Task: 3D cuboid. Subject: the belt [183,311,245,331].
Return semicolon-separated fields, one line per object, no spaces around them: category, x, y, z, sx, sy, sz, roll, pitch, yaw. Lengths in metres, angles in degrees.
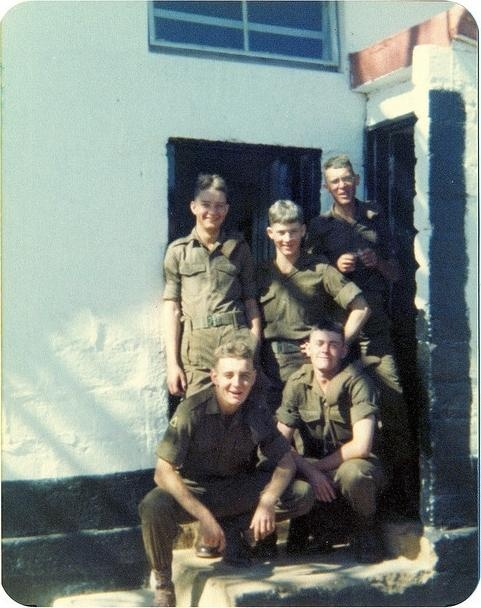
belt;-0.136;0.093;4.265;0.308;0.084;0.086;-7;9;-8

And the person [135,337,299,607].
person;-0.136;0.790;3.984;0.762;1.220;0.474;-9;10;-17
